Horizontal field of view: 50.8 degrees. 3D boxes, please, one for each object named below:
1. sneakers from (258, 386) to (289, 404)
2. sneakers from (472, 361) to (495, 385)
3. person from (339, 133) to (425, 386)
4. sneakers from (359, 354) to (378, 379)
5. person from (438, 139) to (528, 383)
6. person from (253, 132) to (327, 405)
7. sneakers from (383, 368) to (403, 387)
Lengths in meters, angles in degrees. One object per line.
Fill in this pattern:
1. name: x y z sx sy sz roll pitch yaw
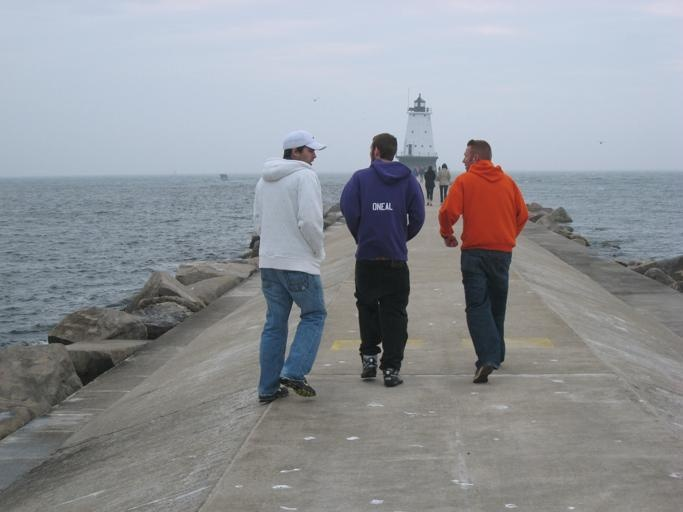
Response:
1. sneakers: -0.531 1.144 5.942 0.266 0.117 0.102 -19 25 -28
2. sneakers: 1.235 1.010 6.202 0.117 0.241 0.102 5 50 -6
3. person: 0.375 0.150 6.207 0.705 1.922 0.516 -1 11 0
4. sneakers: 0.257 0.977 6.350 0.101 0.183 0.264 5 -34 -2
5. person: 1.207 0.039 6.315 0.564 2.081 0.809 7 14 39
6. person: -0.410 0.095 5.821 0.583 2.168 0.543 -2 11 -2
7. sneakers: 0.446 1.030 6.186 0.167 0.151 0.152 1 11 9
